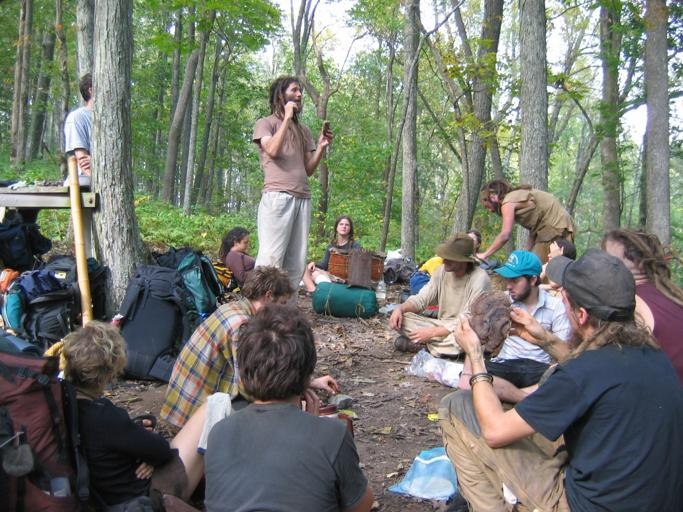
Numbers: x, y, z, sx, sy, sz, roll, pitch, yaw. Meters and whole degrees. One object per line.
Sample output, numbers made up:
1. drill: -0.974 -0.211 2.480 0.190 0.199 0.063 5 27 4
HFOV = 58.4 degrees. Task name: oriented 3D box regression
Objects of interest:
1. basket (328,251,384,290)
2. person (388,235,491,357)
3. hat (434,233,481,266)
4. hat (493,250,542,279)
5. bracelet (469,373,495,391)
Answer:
1. basket: 0.215 0.130 9.366 0.643 0.307 0.718 24 -7 -19
2. person: 1.121 0.450 7.023 1.158 1.359 1.150 4 12 21
3. hat: 1.316 -0.071 6.774 0.368 0.163 0.347 0 26 -27
4. hat: 1.681 0.067 5.832 0.373 0.214 0.239 1 5 1
5. bracelet: 0.983 0.864 4.277 0.117 0.045 0.117 -4 -33 2
